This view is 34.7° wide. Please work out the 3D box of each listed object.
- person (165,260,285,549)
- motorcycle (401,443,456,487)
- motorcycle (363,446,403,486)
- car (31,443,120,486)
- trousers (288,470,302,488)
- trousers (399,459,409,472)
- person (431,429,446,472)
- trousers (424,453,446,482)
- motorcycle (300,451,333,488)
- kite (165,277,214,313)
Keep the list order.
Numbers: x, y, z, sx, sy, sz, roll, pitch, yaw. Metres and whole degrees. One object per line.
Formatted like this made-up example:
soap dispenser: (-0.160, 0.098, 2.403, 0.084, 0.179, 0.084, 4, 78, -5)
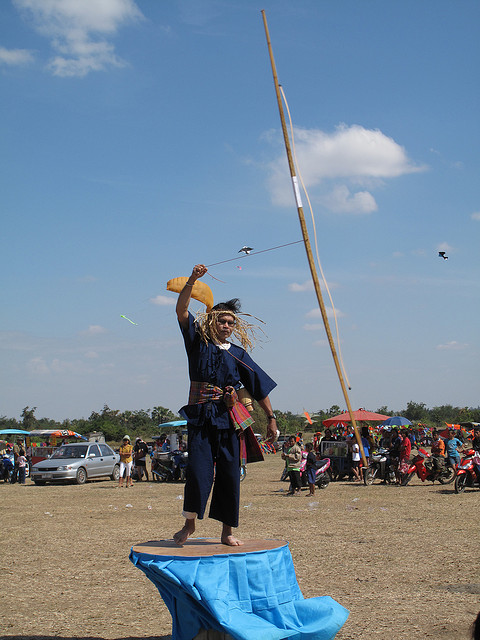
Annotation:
person: (-0.123, 0.599, 5.331, 0.681, 1.861, 0.514, 5, -15, -42)
motorcycle: (4.777, 3.893, 20.564, 1.233, 1.081, 1.072, -5, -3, -22)
motorcycle: (4.004, 3.972, 21.300, 1.965, 1.011, 0.894, 7, -7, -43)
car: (-4.874, 4.304, 23.360, 1.309, 0.755, 2.205, -8, -13, 27)
trousers: (1.250, 3.681, 17.957, 0.261, 0.406, 0.192, -8, -11, 18)
trousers: (4.262, 3.804, 20.244, 0.292, 0.306, 0.140, 3, 1, -19)
person: (5.132, 3.431, 20.129, 0.344, 1.043, 0.741, -7, -11, 13)
trousers: (5.056, 3.802, 20.125, 0.526, 0.670, 0.408, -6, -11, 11)
motorcycle: (1.705, 3.810, 19.331, 0.769, 0.821, 1.454, -10, -15, 32)
kite: (-0.322, -0.173, 4.843, 0.323, 0.128, 0.238, 21, -13, 7)
